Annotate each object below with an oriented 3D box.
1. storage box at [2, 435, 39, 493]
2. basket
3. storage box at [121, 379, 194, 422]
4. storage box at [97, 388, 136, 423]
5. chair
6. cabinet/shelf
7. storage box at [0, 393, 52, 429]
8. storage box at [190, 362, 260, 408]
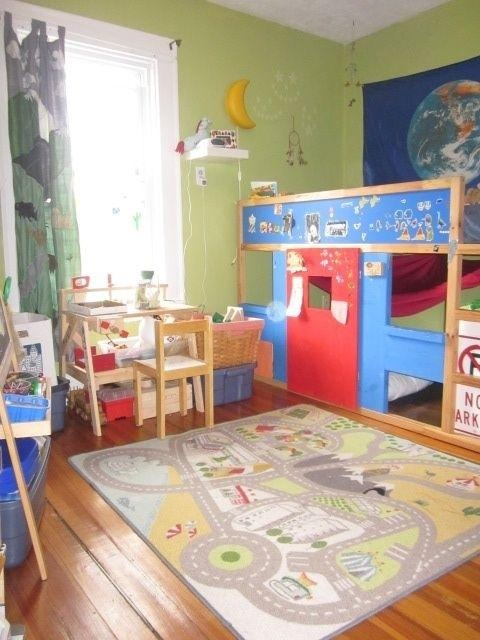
[{"bbox_3d":[-0.597,0.397,1.275,0.085,0.090,0.120,-2,3,-28],"label":"storage box"},{"bbox_3d":[-0.040,0.130,2.779,0.334,0.232,0.270,-4,8,-33],"label":"basket"},{"bbox_3d":[-0.423,0.436,2.541,0.301,0.152,0.213,-5,9,-35],"label":"storage box"},{"bbox_3d":[-0.648,0.442,2.476,0.166,0.142,0.166,-8,13,-34],"label":"storage box"},{"bbox_3d":[-0.346,0.319,2.401,0.412,0.777,0.410,-9,19,-34],"label":"chair"},{"bbox_3d":[-0.584,0.165,2.577,0.652,0.652,0.546,-6,11,-37],"label":"cabinet/shelf"},{"bbox_3d":[-0.504,0.215,1.099,0.104,0.055,0.149,2,3,-31],"label":"storage box"},{"bbox_3d":[-0.079,0.420,2.847,0.222,0.163,0.273,-23,-7,-6],"label":"storage box"}]
